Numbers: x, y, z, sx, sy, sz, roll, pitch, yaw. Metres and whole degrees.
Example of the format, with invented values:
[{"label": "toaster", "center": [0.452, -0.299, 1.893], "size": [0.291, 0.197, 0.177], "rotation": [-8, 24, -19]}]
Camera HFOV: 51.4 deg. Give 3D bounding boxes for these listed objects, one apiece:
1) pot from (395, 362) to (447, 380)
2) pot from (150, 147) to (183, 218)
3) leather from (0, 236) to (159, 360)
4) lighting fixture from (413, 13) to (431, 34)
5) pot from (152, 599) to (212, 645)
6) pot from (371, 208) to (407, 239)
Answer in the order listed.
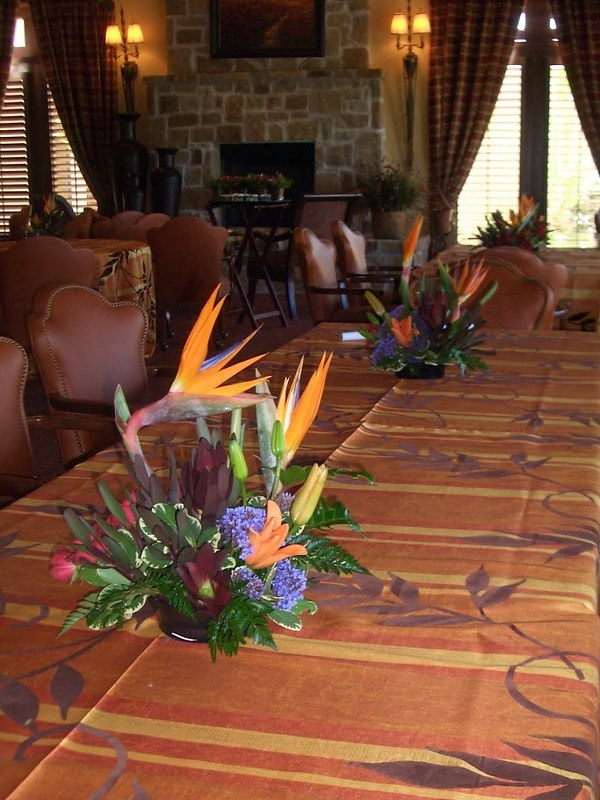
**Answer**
[{"label": "pot", "center": [0.315, -0.078, 1.607], "size": [0.087, 0.032, 0.054], "rotation": [1, 14, 8]}, {"label": "pot", "center": [-1.675, -2.656, 7.798], "size": [0.397, 0.891, 0.395], "rotation": [5, 31, -3]}, {"label": "leather", "center": [-1.468, -0.813, 4.646], "size": [1.231, 0.747, 1.164], "rotation": [1, 13, 3]}, {"label": "lighting fixture", "center": [1.460, -4.528, 7.553], "size": [0.221, 0.250, 0.346], "rotation": [1, 12, 9]}, {"label": "pot", "center": [-0.112, 0.206, 0.575], "size": [0.053, 0.037, 0.060], "rotation": [2, 17, -5]}, {"label": "pot", "center": [1.047, -2.067, 7.411], "size": [0.392, 0.253, 0.368], "rotation": [0, 9, 0]}]
